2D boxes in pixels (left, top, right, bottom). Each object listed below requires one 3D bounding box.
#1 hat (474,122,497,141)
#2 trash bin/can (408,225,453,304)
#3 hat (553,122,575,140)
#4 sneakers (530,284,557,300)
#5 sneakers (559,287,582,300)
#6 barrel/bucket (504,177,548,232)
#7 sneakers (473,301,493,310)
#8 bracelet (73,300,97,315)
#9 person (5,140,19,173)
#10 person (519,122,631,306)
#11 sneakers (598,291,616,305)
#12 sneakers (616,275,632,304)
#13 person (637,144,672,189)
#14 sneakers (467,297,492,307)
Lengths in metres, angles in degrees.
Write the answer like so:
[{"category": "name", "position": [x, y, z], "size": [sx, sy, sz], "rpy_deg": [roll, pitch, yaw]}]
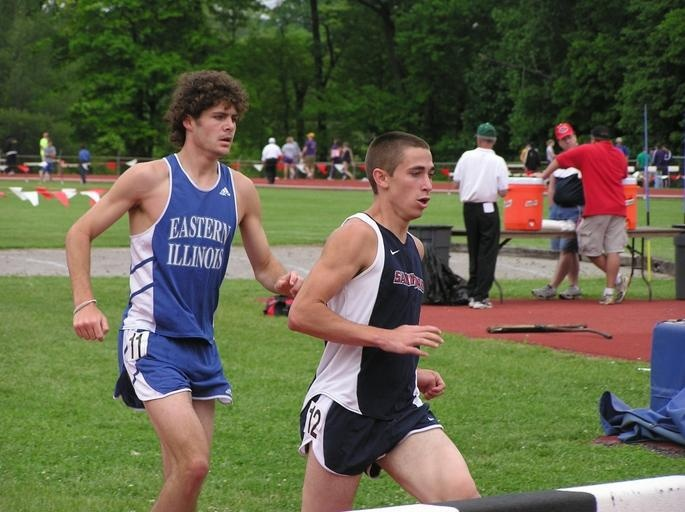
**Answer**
[{"category": "hat", "position": [1.974, -1.710, 15.955], "size": [0.215, 0.176, 0.302], "rpy_deg": [2, 14, -4]}, {"category": "trash bin/can", "position": [1.395, -0.011, 17.187], "size": [0.788, 0.903, 0.756], "rpy_deg": [4, 4, 15]}, {"category": "hat", "position": [3.148, -1.779, 16.635], "size": [0.288, 0.230, 0.417], "rpy_deg": [-22, 5, 9]}, {"category": "sneakers", "position": [2.914, 0.527, 17.150], "size": [0.451, 0.199, 0.161], "rpy_deg": [2, 5, -4]}, {"category": "sneakers", "position": [3.352, 0.552, 17.153], "size": [0.349, 0.139, 0.145], "rpy_deg": [4, -2, -31]}, {"category": "barrel/bucket", "position": [2.615, -0.746, 16.977], "size": [0.762, 0.721, 0.776], "rpy_deg": [1, -1, 0]}, {"category": "sneakers", "position": [1.943, 0.691, 16.235], "size": [0.106, 0.112, 0.274], "rpy_deg": [3, -8, -21]}, {"category": "bracelet", "position": [-2.109, 0.408, 9.456], "size": [0.164, 0.124, 0.111], "rpy_deg": [1, 5, -20]}, {"category": "person", "position": [-8.216, -2.483, 28.755], "size": [0.302, 0.819, 2.087], "rpy_deg": [1, 5, -16]}, {"category": "person", "position": [3.495, -0.568, 16.262], "size": [1.114, 2.479, 0.564], "rpy_deg": [3, 5, 5]}, {"category": "sneakers", "position": [3.757, 0.614, 16.442], "size": [0.115, 0.136, 0.317], "rpy_deg": [-2, -5, 34]}, {"category": "sneakers", "position": [3.986, 0.451, 16.542], "size": [0.219, 0.460, 0.176], "rpy_deg": [4, 10, -4]}, {"category": "person", "position": [8.086, -2.295, 29.714], "size": [0.553, 1.102, 1.740], "rpy_deg": [4, 5, 14]}, {"category": "sneakers", "position": [1.927, 0.654, 16.278], "size": [0.126, 0.138, 0.326], "rpy_deg": [5, -11, -27]}]
